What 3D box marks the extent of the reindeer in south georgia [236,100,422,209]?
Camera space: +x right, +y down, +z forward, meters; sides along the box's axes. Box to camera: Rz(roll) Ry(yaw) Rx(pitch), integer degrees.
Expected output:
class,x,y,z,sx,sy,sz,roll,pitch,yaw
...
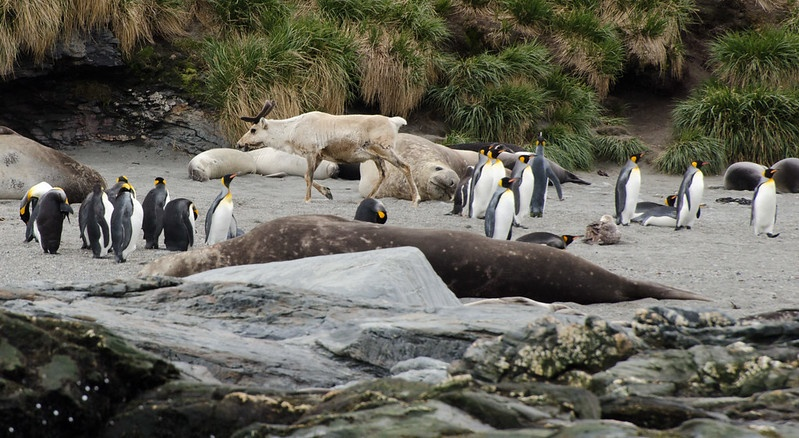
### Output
class,x,y,z,sx,sy,sz,roll,pitch,yaw
reindeer in south georgia,-1.978,-1.506,31.480,6.877,2.918,2.810,0,1,33

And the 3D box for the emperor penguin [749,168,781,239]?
class,x,y,z,sx,sy,sz,roll,pitch,yaw
emperor penguin,8.236,-0.330,28.037,0.580,1.639,0.613,0,3,5

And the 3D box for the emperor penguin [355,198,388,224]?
class,x,y,z,sx,sy,sz,roll,pitch,yaw
emperor penguin,-0.674,-0.151,27.139,0.688,0.484,0.473,7,34,-53

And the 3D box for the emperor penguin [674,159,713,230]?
class,x,y,z,sx,sy,sz,roll,pitch,yaw
emperor penguin,6.575,-0.519,28.519,0.876,1.502,0.791,0,-6,27

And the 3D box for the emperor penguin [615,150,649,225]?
class,x,y,z,sx,sy,sz,roll,pitch,yaw
emperor penguin,5.288,-0.635,28.894,0.753,1.578,0.676,-3,-1,36

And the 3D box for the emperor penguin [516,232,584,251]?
class,x,y,z,sx,sy,sz,roll,pitch,yaw
emperor penguin,3.180,0.444,26.648,1.027,0.236,0.495,6,5,-7

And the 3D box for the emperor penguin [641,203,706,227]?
class,x,y,z,sx,sy,sz,roll,pitch,yaw
emperor penguin,6.193,-0.093,28.617,1.790,0.586,0.472,0,19,17

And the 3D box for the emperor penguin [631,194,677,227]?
class,x,y,z,sx,sy,sz,roll,pitch,yaw
emperor penguin,5.862,-0.201,28.871,1.294,0.675,0.763,-1,6,-24
